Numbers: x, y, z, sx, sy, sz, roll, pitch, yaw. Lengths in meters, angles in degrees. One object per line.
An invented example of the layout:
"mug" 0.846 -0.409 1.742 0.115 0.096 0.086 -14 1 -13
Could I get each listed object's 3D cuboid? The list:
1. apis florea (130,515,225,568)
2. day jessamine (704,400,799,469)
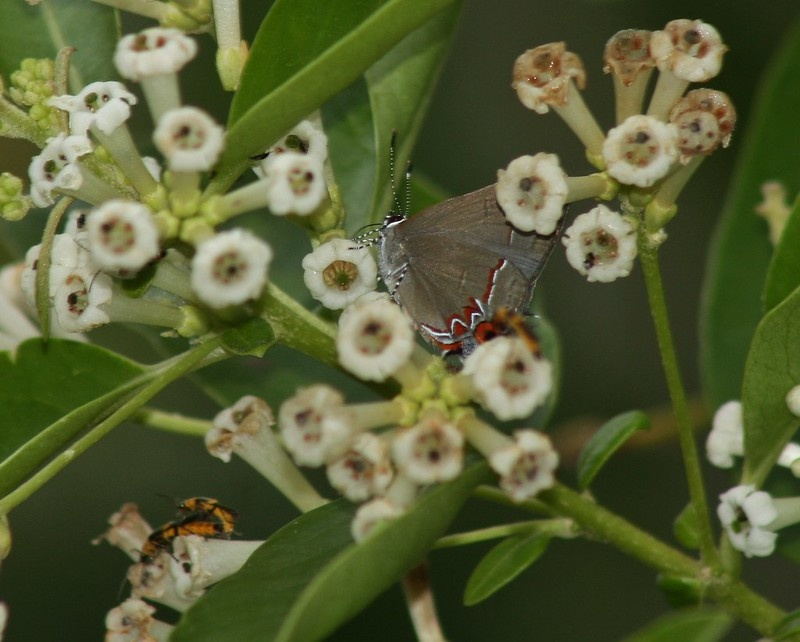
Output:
"apis florea" -0.627 0.609 3.262 0.221 0.053 0.144 -19 10 13
"day jessamine" 0.937 0.328 3.310 0.324 0.185 0.230 -6 18 -11
